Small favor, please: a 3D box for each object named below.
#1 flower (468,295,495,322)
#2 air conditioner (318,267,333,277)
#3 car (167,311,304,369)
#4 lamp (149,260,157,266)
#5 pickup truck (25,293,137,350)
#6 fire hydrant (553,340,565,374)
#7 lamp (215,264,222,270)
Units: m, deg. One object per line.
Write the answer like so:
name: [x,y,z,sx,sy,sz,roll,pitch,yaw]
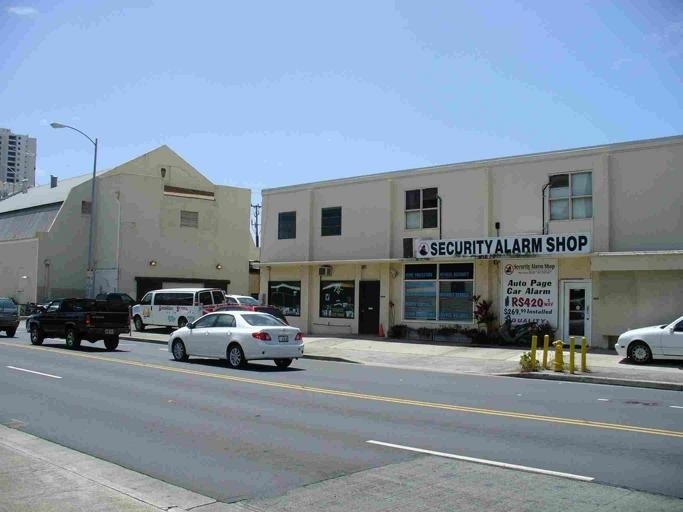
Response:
flower: [6.019,2.272,26.831,0.954,1.073,1.013,-2,-7,24]
air conditioner: [-0.797,0.791,32.419,0.492,0.442,0.755,0,-4,3]
car: [-3.472,2.579,20.117,3.895,1.405,1.839,-1,-6,39]
lamp: [-14.271,0.510,47.492,0.577,0.337,0.597,5,-22,-27]
pickup truck: [-10.661,2.584,25.061,3.827,1.561,1.964,-1,-5,41]
fire hydrant: [6.572,3.020,18.899,0.290,0.919,0.893,0,-2,19]
lamp: [-10.051,0.888,51.797,0.212,0.451,0.650,0,-2,39]
